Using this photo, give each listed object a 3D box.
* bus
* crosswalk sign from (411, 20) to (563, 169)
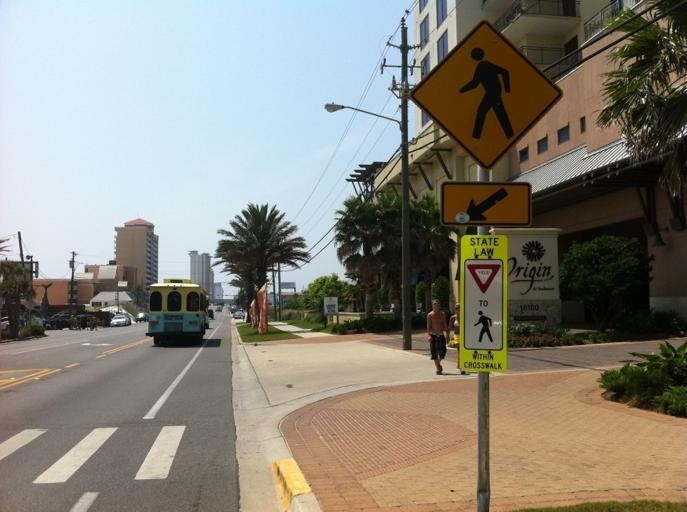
[{"bbox_3d":[-8.677,2.862,34.889,4.209,5.049,8.632,1,-2,-11],"label":"bus"},{"bbox_3d":[1.620,-1.837,7.301,1.552,1.715,0.218,-1,-5,1],"label":"crosswalk sign"}]
